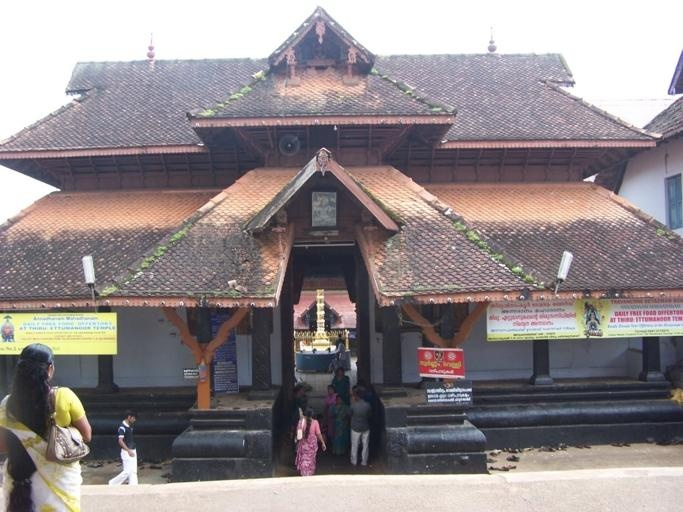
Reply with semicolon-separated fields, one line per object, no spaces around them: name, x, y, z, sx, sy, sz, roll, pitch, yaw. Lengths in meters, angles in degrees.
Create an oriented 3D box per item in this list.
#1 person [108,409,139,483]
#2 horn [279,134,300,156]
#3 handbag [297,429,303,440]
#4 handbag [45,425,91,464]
person;-5.102;4.525;25.284;0.604;1.654;0.970;2;-10;-10
horn;-1.352;-2.904;27.891;0.593;0.497;0.337;0;-9;-4
handbag;-0.991;4.245;25.389;0.191;0.205;0.082;3;-2;-9
handbag;-5.331;3.622;20.687;0.391;0.643;0.739;-14;-16;35
